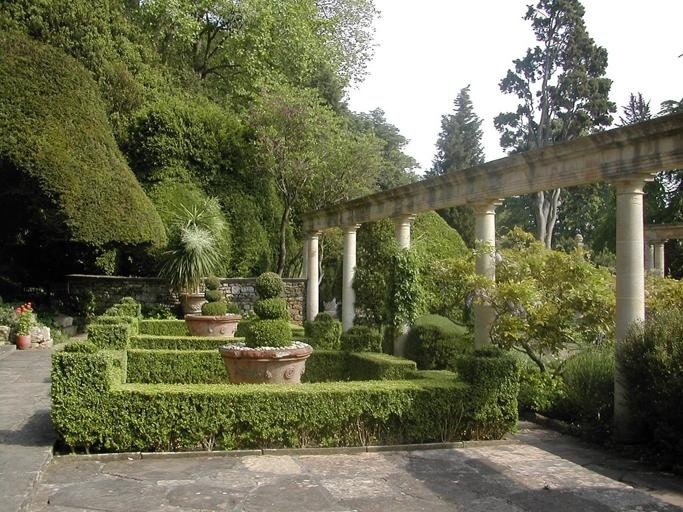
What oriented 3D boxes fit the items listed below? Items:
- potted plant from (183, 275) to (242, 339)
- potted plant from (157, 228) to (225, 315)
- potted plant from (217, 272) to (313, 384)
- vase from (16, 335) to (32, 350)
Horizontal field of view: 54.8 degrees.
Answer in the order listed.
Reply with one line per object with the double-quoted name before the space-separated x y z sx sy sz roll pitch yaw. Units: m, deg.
"potted plant" -3.799 1.511 19.605 1.634 2.085 1.746 -1 -3 10
"potted plant" -5.677 0.101 23.596 1.968 2.401 1.925 -6 -3 12
"potted plant" -1.446 1.411 13.309 2.074 2.632 1.995 0 -7 -5
"vase" -9.164 2.476 18.886 0.371 0.375 0.364 3 -6 -32
